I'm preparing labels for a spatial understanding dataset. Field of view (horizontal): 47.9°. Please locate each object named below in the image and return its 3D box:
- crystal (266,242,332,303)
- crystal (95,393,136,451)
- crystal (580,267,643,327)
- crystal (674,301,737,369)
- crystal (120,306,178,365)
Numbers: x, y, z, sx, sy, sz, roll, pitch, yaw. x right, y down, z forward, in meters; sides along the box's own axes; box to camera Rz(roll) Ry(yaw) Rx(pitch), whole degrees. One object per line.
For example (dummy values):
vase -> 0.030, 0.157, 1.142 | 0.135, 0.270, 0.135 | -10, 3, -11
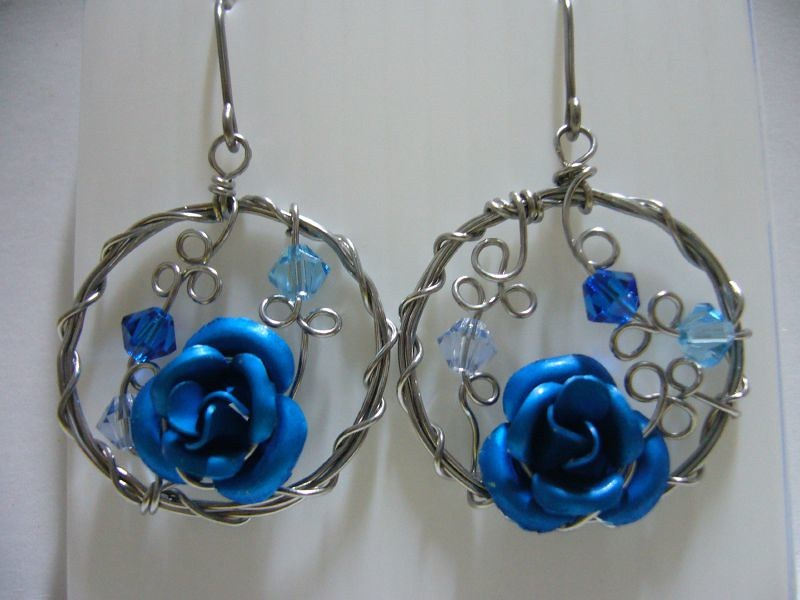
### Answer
crystal -> -0.166, -0.046, 1.491 | 0.078, 0.082, 0.084 | -2, -2, -6
crystal -> -0.465, 0.203, 1.492 | 0.075, 0.089, 0.049 | -15, -29, 29
crystal -> 0.349, -0.007, 1.484 | 0.077, 0.096, 0.046 | 7, -7, 1
crystal -> 0.501, 0.058, 1.477 | 0.083, 0.100, 0.056 | -1, -10, 7
crystal -> -0.415, 0.058, 1.496 | 0.081, 0.079, 0.081 | 33, 9, 34
